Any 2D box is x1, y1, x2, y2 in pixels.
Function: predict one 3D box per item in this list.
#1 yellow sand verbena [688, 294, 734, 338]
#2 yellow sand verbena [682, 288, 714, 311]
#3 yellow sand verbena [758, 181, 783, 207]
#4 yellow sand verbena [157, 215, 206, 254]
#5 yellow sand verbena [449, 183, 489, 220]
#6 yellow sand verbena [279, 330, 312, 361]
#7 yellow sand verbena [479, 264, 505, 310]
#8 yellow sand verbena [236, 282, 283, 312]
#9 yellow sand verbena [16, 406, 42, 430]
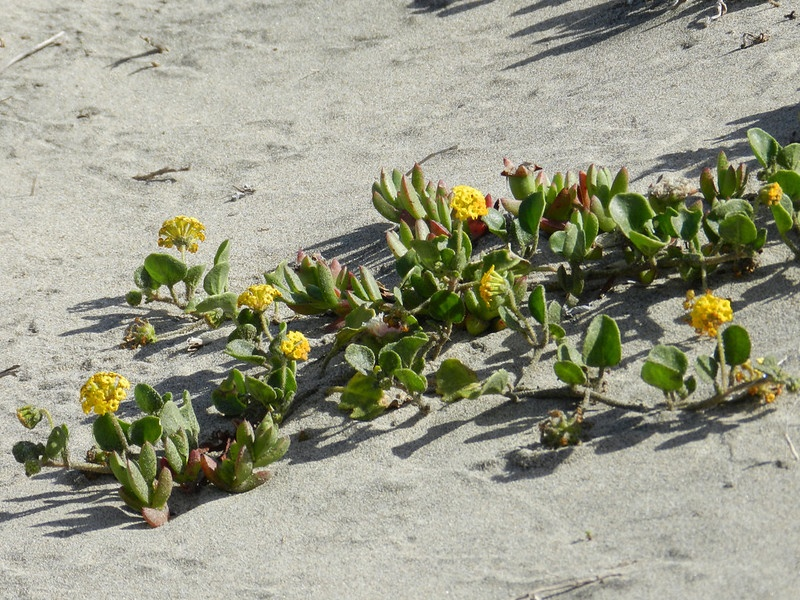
[{"bbox_3d":[1.792,0.076,9.042,0.254,0.250,0.266,13,10,11],"label":"yellow sand verbena"},{"bbox_3d":[1.730,0.001,9.070,0.168,0.139,0.080,-32,-18,3],"label":"yellow sand verbena"},{"bbox_3d":[2.257,-0.653,9.493,0.144,0.166,0.226,-1,34,14],"label":"yellow sand verbena"},{"bbox_3d":[-1.452,-0.438,10.391,0.264,0.273,0.278,14,31,17],"label":"yellow sand verbena"},{"bbox_3d":[0.410,-0.558,9.398,0.192,0.255,0.206,-11,32,-1],"label":"yellow sand verbena"},{"bbox_3d":[-0.637,0.281,9.399,0.165,0.180,0.159,10,2,-24],"label":"yellow sand verbena"},{"bbox_3d":[0.549,-0.091,9.216,0.078,0.209,0.182,6,-15,-27],"label":"yellow sand verbena"},{"bbox_3d":[-0.874,-0.047,9.494,0.167,0.115,0.190,-12,13,5],"label":"yellow sand verbena"},{"bbox_3d":[-2.253,0.704,9.440,0.150,0.136,0.071,-31,1,-32],"label":"yellow sand verbena"}]
